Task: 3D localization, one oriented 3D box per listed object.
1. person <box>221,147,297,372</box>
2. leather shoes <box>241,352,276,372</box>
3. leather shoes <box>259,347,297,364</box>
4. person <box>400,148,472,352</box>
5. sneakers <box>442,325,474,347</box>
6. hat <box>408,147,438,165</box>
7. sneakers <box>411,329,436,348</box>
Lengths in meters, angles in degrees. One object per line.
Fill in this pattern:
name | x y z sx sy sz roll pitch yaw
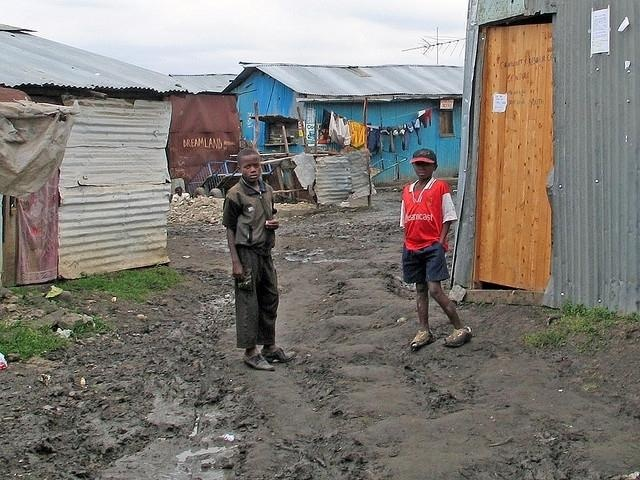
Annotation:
person | -0.709 0.223 5.185 0.661 2.328 0.385 -12 10 -11
leather shoes | -0.639 1.284 5.288 0.350 0.115 0.139 10 14 41
leather shoes | -0.478 1.273 5.498 0.340 0.130 0.168 0 12 -3
person | 1.117 0.109 5.091 0.643 2.063 0.606 -12 10 -12
sneakers | 1.410 0.969 5.051 0.309 0.132 0.152 -22 13 -21
hat | 1.074 -0.852 5.082 0.249 0.171 0.460 -7 10 12
sneakers | 1.082 1.040 5.254 0.340 0.142 0.119 -11 7 -36
